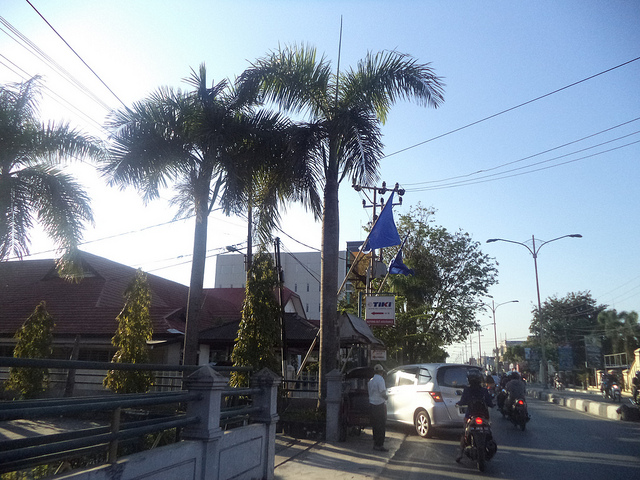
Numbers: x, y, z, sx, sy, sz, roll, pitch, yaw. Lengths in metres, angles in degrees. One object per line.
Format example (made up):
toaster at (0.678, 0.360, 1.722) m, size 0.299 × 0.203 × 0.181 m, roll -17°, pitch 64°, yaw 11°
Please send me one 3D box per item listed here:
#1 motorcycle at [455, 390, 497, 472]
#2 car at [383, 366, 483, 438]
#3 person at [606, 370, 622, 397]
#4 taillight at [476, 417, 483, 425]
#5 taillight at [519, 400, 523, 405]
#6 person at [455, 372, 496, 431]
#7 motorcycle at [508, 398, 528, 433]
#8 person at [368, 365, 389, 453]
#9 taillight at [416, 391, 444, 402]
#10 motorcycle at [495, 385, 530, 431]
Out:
motorcycle at (3.573, 4.481, 10.468) m, size 0.611 × 1.214 × 0.821 m, roll 2°, pitch -14°, yaw 1°
car at (3.384, 5.072, 15.056) m, size 1.954 × 1.710 × 3.530 m, roll 9°, pitch -18°, yaw -25°
person at (17.599, 8.723, 28.466) m, size 0.656 × 1.614 × 1.417 m, roll -6°, pitch -17°, yaw 30°
taillight at (3.522, 4.046, 10.446) m, size 0.108 × 0.121 × 0.029 m, roll -2°, pitch -13°, yaw 21°
taillight at (6.623, 5.406, 15.552) m, size 0.111 × 0.044 × 0.123 m, roll 0°, pitch -6°, yaw -5°
person at (3.690, 3.773, 11.306) m, size 0.626 × 0.885 × 1.259 m, roll 0°, pitch -17°, yaw 7°
motorcycle at (6.663, 5.851, 15.686) m, size 0.407 × 1.032 × 1.010 m, roll 0°, pitch -15°, yaw 8°
person at (1.540, 4.475, 12.610) m, size 0.525 × 2.148 × 1.369 m, roll 0°, pitch -14°, yaw 6°
taillight at (3.266, 4.645, 13.859) m, size 0.504 × 0.242 × 0.334 m, roll -10°, pitch -19°, yaw 43°
motorcycle at (7.158, 6.346, 17.648) m, size 0.546 × 1.230 × 4.809 m, roll -2°, pitch -17°, yaw 15°
